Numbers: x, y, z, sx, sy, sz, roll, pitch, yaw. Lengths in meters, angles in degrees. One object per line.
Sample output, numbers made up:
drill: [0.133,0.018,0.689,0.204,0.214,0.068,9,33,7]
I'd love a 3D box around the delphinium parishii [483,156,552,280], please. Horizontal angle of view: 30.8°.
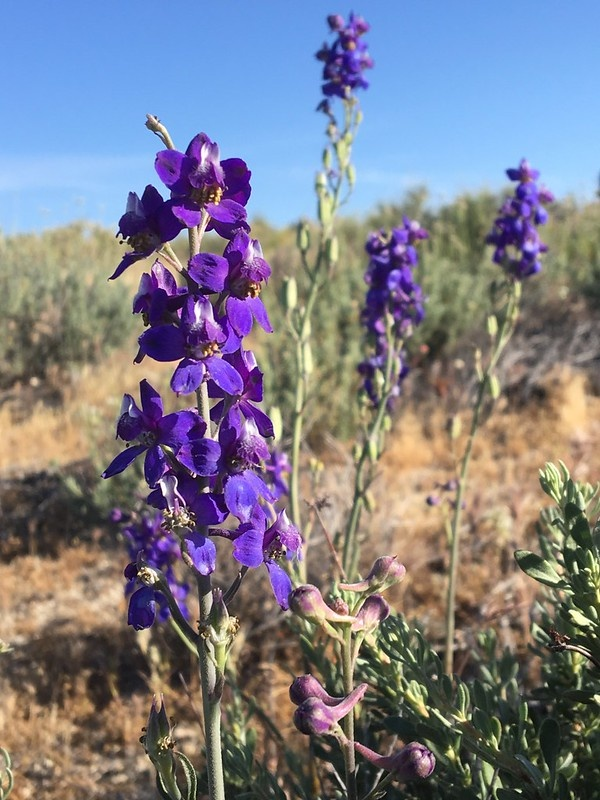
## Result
delphinium parishii: [0.780,-0.642,3.889,0.229,0.409,0.462,3,5,10]

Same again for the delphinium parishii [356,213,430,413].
delphinium parishii: [0.337,-0.322,4.033,0.237,0.697,0.379,3,5,5]

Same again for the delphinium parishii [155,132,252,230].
delphinium parishii: [-0.269,-0.600,2.998,0.254,0.263,0.093,1,5,-9]
